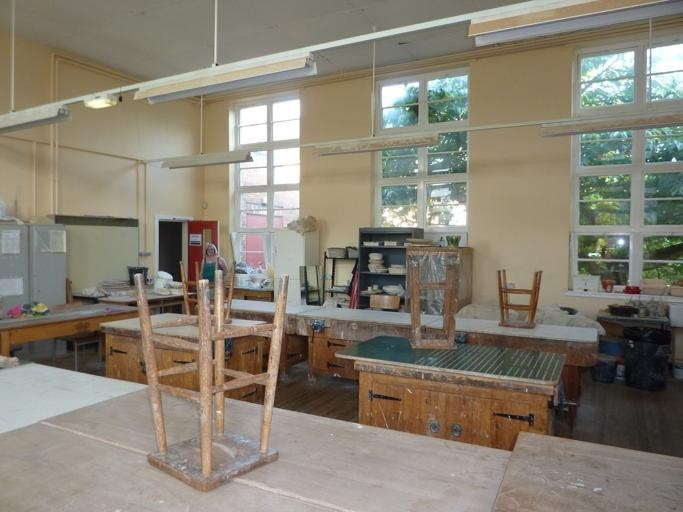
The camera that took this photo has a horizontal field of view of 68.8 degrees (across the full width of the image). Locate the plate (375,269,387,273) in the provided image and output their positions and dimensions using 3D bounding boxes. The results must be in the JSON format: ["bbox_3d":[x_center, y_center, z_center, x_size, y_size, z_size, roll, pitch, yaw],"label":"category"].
[{"bbox_3d":[0.702,0.242,8.608,0.193,0.068,0.105,3,9,15],"label":"plate"}]

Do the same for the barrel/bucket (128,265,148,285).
[{"bbox_3d":[-2.840,0.245,6.894,0.341,0.269,0.285,-1,5,-39],"label":"barrel/bucket"}]

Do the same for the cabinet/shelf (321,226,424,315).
[{"bbox_3d":[0.559,0.230,8.273,1.579,1.384,0.418,-2,-4,30],"label":"cabinet/shelf"}]

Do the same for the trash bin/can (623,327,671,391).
[{"bbox_3d":[4.070,1.389,6.746,0.597,0.804,0.523,4,-10,30],"label":"trash bin/can"}]

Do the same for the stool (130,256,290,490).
[{"bbox_3d":[-0.751,0.472,2.741,0.672,0.966,1.316,-3,10,-23],"label":"stool"}]

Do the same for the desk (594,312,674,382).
[{"bbox_3d":[4.063,1.370,6.959,0.943,0.902,1.153,0,-16,35],"label":"desk"}]
